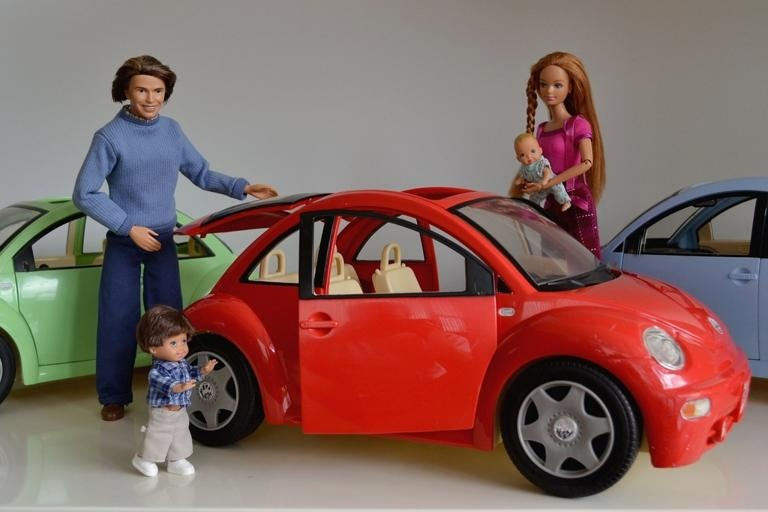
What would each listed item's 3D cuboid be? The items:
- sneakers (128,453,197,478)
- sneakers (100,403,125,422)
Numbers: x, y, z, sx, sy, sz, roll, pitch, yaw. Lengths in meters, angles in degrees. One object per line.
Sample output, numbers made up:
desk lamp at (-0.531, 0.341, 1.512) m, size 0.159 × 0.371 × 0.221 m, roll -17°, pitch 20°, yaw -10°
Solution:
sneakers at (-1.243, 1.136, 2.850) m, size 0.376 × 0.168 × 0.132 m, roll -1°, pitch 3°, yaw 4°
sneakers at (-1.812, 1.024, 3.416) m, size 0.143 × 0.113 × 0.107 m, roll -7°, pitch 11°, yaw -32°
